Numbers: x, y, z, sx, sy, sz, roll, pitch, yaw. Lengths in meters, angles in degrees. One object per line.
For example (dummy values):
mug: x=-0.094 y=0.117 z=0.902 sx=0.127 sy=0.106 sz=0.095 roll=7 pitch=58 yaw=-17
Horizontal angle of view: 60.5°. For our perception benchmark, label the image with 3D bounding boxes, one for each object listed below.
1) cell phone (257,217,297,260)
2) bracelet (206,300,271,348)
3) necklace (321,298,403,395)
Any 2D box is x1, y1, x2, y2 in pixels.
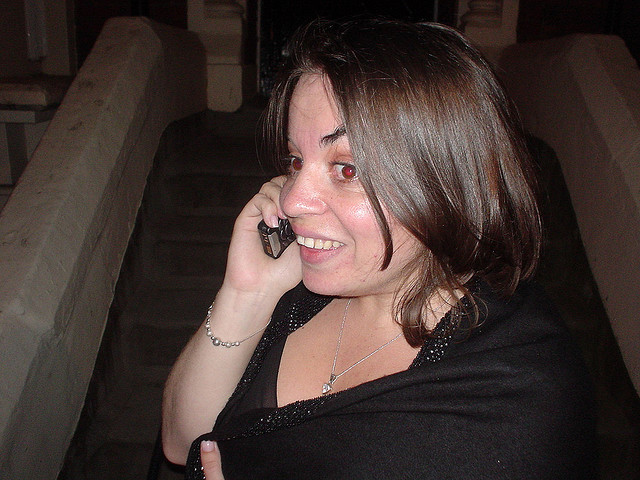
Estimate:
cell phone: x=-0.191 y=-0.033 z=2.551 sx=0.067 sy=0.171 sz=0.204 roll=2 pitch=21 yaw=28
bracelet: x=-0.391 y=0.404 z=2.570 sx=0.295 sy=0.137 sz=0.155 roll=7 pitch=28 yaw=3
necklace: x=0.114 y=0.450 z=2.332 sx=0.295 sy=0.288 sz=0.324 roll=-9 pitch=31 yaw=-26
